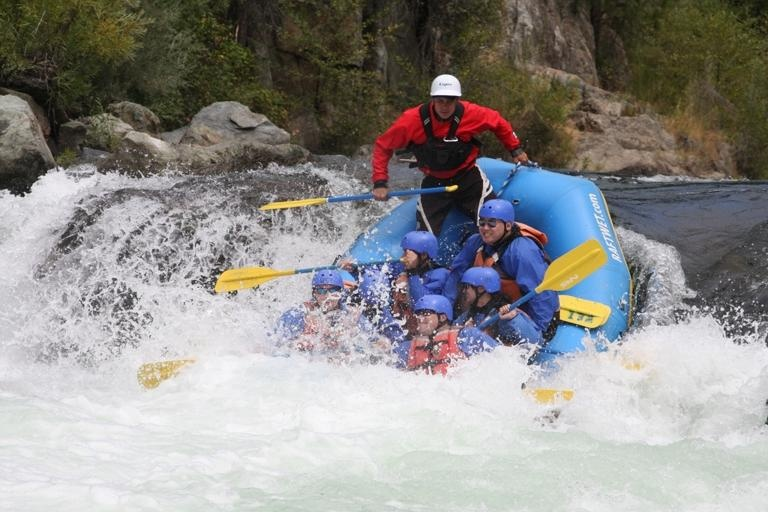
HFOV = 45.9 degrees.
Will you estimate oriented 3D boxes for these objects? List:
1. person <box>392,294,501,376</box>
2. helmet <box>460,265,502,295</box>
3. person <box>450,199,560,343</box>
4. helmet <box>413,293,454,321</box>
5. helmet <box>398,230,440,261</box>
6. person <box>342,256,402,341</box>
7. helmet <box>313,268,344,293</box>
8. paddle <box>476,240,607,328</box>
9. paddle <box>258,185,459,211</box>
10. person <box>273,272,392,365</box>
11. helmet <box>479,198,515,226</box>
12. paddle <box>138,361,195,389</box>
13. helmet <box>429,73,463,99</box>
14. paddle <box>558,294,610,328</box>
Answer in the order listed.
[{"bbox_3d":[0.626,0.864,9.205,0.920,0.614,0.734,18,33,26],"label":"person"},{"bbox_3d":[1.023,0.239,9.404,0.338,0.200,0.253,-6,11,-7],"label":"helmet"},{"bbox_3d":[1.321,0.203,9.605,0.793,0.981,1.074,-14,33,-17],"label":"person"},{"bbox_3d":[0.525,0.529,9.429,0.311,0.175,0.270,2,-6,-20],"label":"helmet"},{"bbox_3d":[0.396,-0.139,9.949,0.359,0.272,0.269,-14,16,-6],"label":"helmet"},{"bbox_3d":[-0.121,0.423,9.886,0.520,0.281,0.912,-22,59,-1],"label":"person"},{"bbox_3d":[-0.588,0.251,9.613,0.207,0.278,0.211,1,71,-3],"label":"helmet"},{"bbox_3d":[1.611,0.203,9.390,1.578,0.322,0.076,34,82,19],"label":"paddle"},{"bbox_3d":[-0.354,-0.699,11.105,3.069,0.201,0.244,-3,36,8],"label":"paddle"},{"bbox_3d":[-0.544,0.598,9.442,1.177,0.697,0.616,4,29,2],"label":"person"},{"bbox_3d":[1.219,-0.502,9.634,0.234,0.312,0.239,2,49,10],"label":"helmet"},{"bbox_3d":[-2.165,1.154,8.956,0.439,0.045,0.214,-15,55,-12],"label":"paddle"},{"bbox_3d":[0.685,-1.828,10.020,0.293,0.193,0.378,4,3,1],"label":"helmet"},{"bbox_3d":[2.036,0.555,9.326,0.465,0.108,0.267,14,67,17],"label":"paddle"}]
